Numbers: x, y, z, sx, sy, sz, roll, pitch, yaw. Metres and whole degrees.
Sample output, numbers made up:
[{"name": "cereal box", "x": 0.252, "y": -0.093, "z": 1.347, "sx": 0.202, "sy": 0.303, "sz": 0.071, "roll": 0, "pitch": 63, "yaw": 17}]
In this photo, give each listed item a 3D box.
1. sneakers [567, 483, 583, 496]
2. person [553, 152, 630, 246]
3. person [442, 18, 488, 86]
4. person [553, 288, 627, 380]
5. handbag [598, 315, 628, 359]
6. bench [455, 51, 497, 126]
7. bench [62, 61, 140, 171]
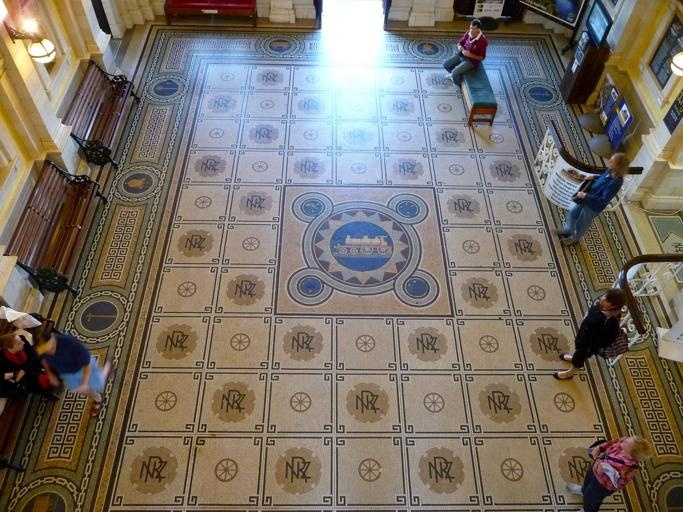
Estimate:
[{"name": "sneakers", "x": 2.838, "y": 2.849, "z": 5.442, "sx": 0.125, "sy": 0.207, "sz": 0.203, "roll": -4, "pitch": 61, "yaw": 6}, {"name": "person", "x": 4.100, "y": -0.874, "z": 7.335, "sx": 0.535, "sy": 1.475, "sz": 0.631, "roll": 21, "pitch": 62, "yaw": -2}, {"name": "person", "x": 2.605, "y": -4.224, "z": 9.372, "sx": 0.743, "sy": 1.380, "sz": 0.657, "roll": -30, "pitch": 62, "yaw": -19}, {"name": "person", "x": 3.356, "y": 1.117, "z": 6.006, "sx": 0.377, "sy": 1.288, "sz": 0.468, "roll": 35, "pitch": 84, "yaw": 13}, {"name": "handbag", "x": 3.491, "y": 1.033, "z": 5.674, "sx": 0.392, "sy": 0.191, "sz": 0.516, "roll": -4, "pitch": 74, "yaw": 30}, {"name": "bench", "x": 2.838, "y": -3.236, "z": 9.163, "sx": 0.557, "sy": 0.550, "sz": 1.078, "roll": 1, "pitch": 51, "yaw": -3}, {"name": "bench", "x": -4.469, "y": -2.632, "z": 8.259, "sx": 0.618, "sy": 1.042, "sz": 2.011, "roll": -1, "pitch": 51, "yaw": -4}]
